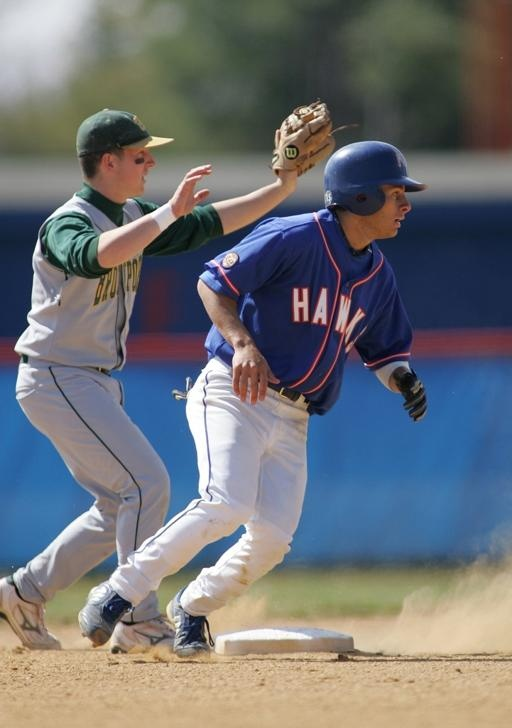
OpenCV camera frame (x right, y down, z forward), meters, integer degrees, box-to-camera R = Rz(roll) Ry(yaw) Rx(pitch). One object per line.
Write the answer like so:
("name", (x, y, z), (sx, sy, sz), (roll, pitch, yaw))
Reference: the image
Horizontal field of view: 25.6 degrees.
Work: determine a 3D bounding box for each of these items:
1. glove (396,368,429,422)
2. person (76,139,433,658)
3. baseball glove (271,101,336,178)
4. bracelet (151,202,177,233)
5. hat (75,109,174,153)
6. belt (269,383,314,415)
("glove", (0.558, 0.112, 4.063), (0.082, 0.182, 0.116), (-21, 18, -29))
("person", (0.035, 0.142, 3.785), (1.425, 1.639, 0.442), (-21, 29, -39))
("baseball glove", (0.147, -0.833, 4.137), (0.234, 0.272, 0.118), (9, 31, -31))
("bracelet", (-0.283, -0.452, 3.481), (0.058, 0.089, 0.103), (12, 25, 30))
("hat", (-0.455, -0.801, 3.911), (0.284, 0.117, 0.165), (-8, 13, -1))
("belt", (0.121, 0.116, 3.749), (0.109, 0.030, 0.104), (28, -3, -42))
